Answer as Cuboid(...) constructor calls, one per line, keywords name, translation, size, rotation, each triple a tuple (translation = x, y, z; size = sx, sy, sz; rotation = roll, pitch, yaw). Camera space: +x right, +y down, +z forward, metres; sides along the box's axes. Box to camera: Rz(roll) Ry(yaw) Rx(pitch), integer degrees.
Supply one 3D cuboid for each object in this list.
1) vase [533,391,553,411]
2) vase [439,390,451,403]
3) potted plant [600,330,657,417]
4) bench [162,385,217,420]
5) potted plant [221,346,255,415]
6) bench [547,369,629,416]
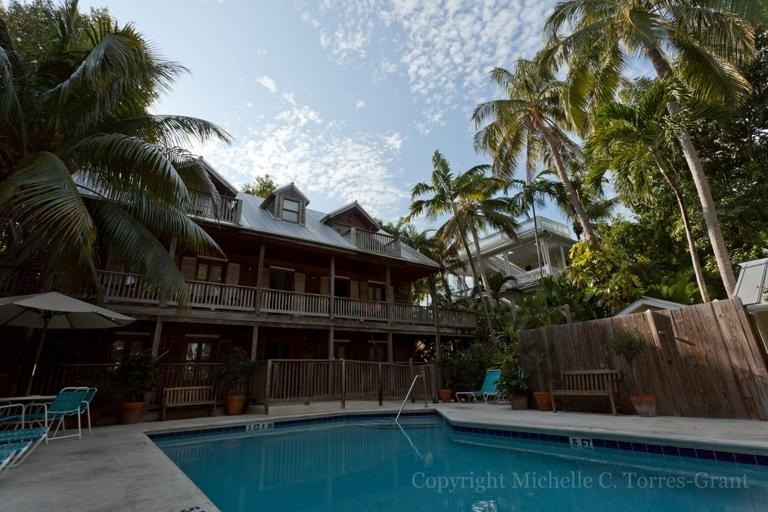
Cuboid(name="vase", translation=(5.089, 4.711, 12.518), size=(0.563, 0.433, 0.569), rotation=(18, -28, -36))
Cuboid(name="vase", translation=(2.643, 6.224, 17.152), size=(0.512, 0.395, 0.525), rotation=(11, -26, -25))
Cuboid(name="potted plant", translation=(6.949, 3.192, 10.837), size=(0.790, 2.742, 1.146), rotation=(-6, -2, 2))
Cuboid(name="bench", translation=(-6.839, 5.016, 13.401), size=(1.695, 0.839, 0.656), rotation=(-4, -3, -34))
Cuboid(name="potted plant", translation=(-5.532, 4.798, 14.520), size=(0.883, 1.812, 1.078), rotation=(-7, -3, 43))
Cuboid(name="bench", translation=(5.820, 3.939, 11.235), size=(0.741, 1.212, 1.886), rotation=(13, -21, -32))
